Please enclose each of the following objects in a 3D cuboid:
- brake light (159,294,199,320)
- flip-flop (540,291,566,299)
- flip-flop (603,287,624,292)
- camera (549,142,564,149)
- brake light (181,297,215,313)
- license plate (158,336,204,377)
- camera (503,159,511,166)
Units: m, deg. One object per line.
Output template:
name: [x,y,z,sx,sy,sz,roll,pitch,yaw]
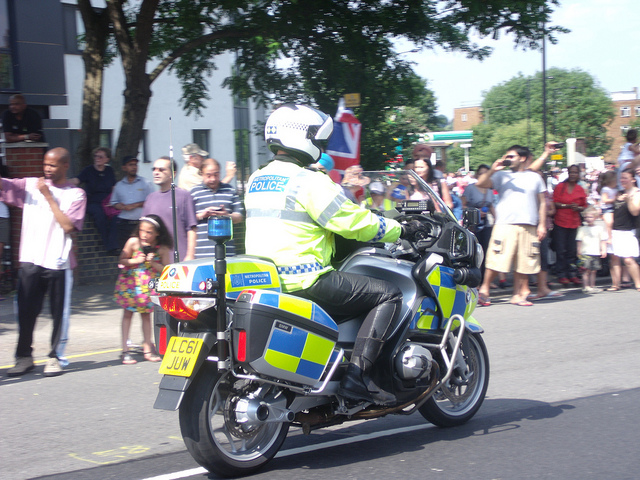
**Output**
brake light: [-1.126,0.533,6.436,0.193,0.243,0.126,32,31,33]
flip-flop: [3.914,0.931,13.671,0.372,0.079,0.125,-6,11,-29]
flip-flop: [5.120,0.866,14.261,0.251,0.053,0.079,1,-1,-5]
camera: [3.605,-1.433,12.435,0.134,0.089,0.278,-7,5,22]
brake light: [-0.945,0.505,6.364,0.252,0.111,0.036,-1,10,10]
license plate: [-1.080,0.909,6.356,0.417,0.351,0.037,-3,-19,42]
camera: [2.890,-1.197,12.632,0.143,0.083,0.074,3,13,26]
